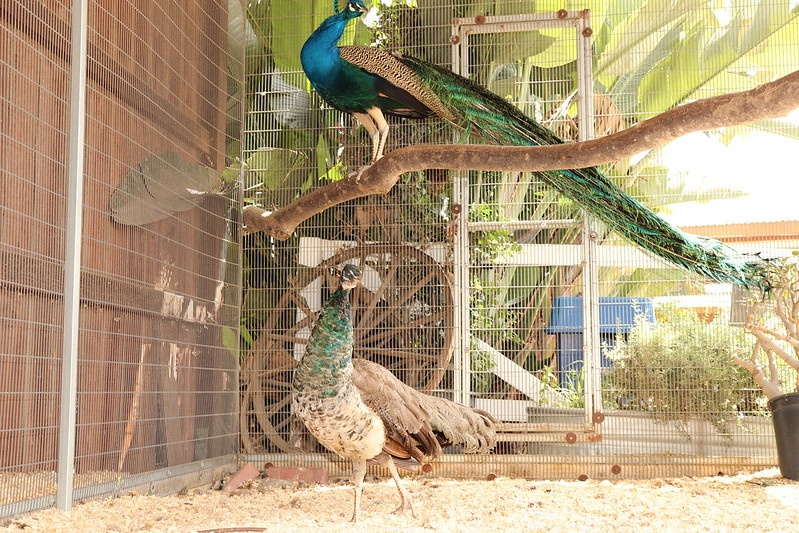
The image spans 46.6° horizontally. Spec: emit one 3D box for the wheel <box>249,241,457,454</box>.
[{"bbox_3d":[-0.328,0.700,7.637,1.495,1.638,0.131,9,1,26],"label":"wheel"}]

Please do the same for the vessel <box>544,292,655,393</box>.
[{"bbox_3d":[1.871,0.562,8.649,1.062,0.831,0.785,0,-12,1],"label":"vessel"}]
